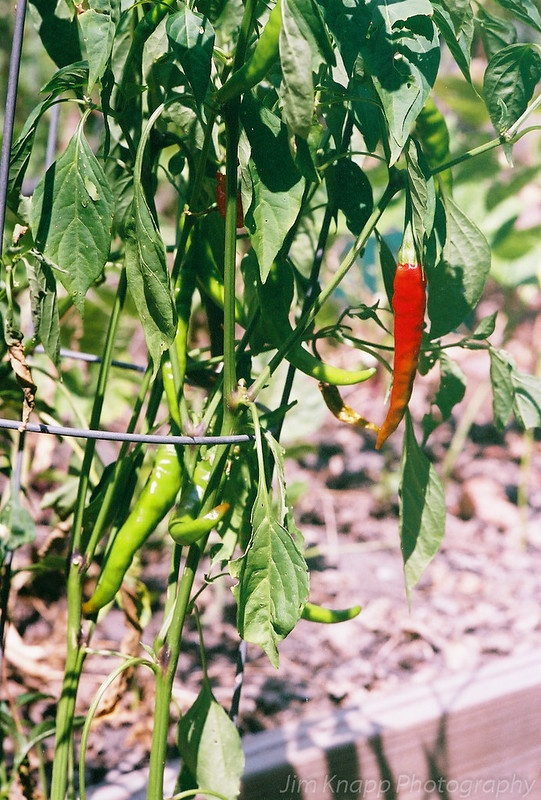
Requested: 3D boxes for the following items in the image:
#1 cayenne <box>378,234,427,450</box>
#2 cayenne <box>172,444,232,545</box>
[{"bbox_3d":[0.095,-0.042,0.633,0.027,0.165,0.023,3,10,-4],"label":"cayenne"},{"bbox_3d":[-0.053,0.077,0.612,0.039,0.020,0.083,-20,26,6],"label":"cayenne"}]
